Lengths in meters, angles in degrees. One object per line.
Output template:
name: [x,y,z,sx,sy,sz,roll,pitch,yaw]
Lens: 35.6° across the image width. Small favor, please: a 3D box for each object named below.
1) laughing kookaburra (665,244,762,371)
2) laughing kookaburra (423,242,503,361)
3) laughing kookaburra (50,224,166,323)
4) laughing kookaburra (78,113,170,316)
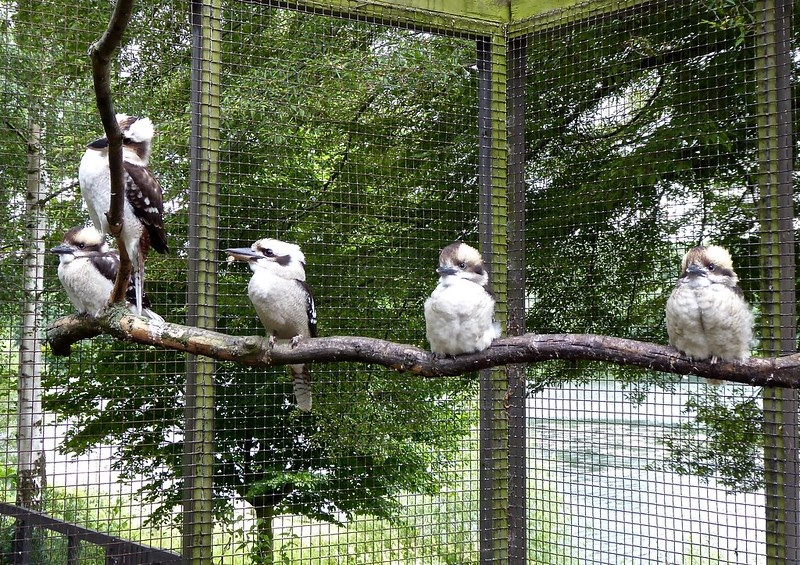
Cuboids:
laughing kookaburra: [2.158,0.132,8.581,0.552,0.830,0.782,-1,-3,28]
laughing kookaburra: [0.434,0.093,8.643,0.533,0.814,0.782,3,9,22]
laughing kookaburra: [-2.139,-0.054,9.151,0.529,0.687,0.941,1,-1,42]
laughing kookaburra: [-1.898,-0.539,8.525,0.455,1.307,0.746,-2,-2,17]
